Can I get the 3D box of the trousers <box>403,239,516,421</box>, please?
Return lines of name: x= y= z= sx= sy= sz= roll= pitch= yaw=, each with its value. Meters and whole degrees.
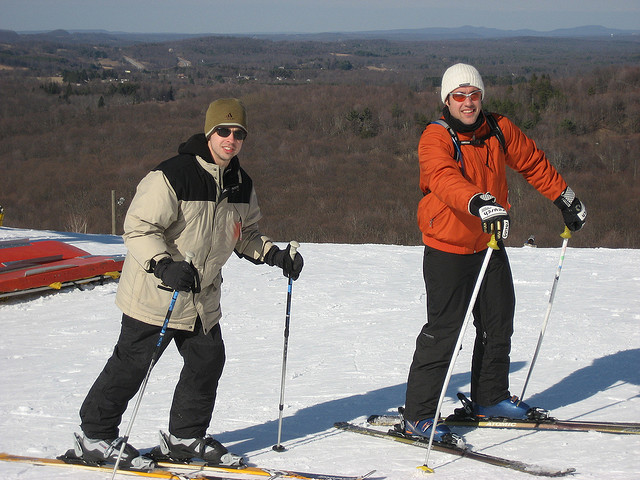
trousers: x=1.144 y=0.613 z=6.190 sx=0.824 sy=1.499 sz=1.067 roll=2 pitch=14 yaw=-3

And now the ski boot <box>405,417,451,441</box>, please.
ski boot: x=0.863 y=1.467 z=5.896 sx=0.370 sy=0.175 sz=0.150 roll=-3 pitch=-5 yaw=33

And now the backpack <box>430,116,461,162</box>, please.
backpack: x=1.031 y=-0.783 z=5.851 sx=0.166 sy=0.330 sz=0.329 roll=-6 pitch=12 yaw=-28

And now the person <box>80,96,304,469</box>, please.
person: x=-0.997 y=0.356 z=5.393 sx=1.538 sy=2.679 sz=0.621 roll=-5 pitch=11 yaw=-21

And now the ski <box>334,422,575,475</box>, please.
ski: x=1.095 y=1.602 z=5.735 sx=1.641 sy=0.096 sz=0.181 roll=7 pitch=9 yaw=25

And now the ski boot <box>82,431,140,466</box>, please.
ski boot: x=-1.535 y=1.502 z=5.460 sx=0.430 sy=0.193 sz=0.172 roll=9 pitch=10 yaw=-4

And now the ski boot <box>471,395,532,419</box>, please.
ski boot: x=1.543 y=1.385 z=6.206 sx=0.365 sy=0.159 sz=0.206 roll=-6 pitch=-7 yaw=13

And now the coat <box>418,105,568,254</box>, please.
coat: x=1.383 y=-0.468 z=5.777 sx=1.194 sy=1.308 sz=1.145 roll=8 pitch=23 yaw=23

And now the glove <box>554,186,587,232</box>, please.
glove: x=2.182 y=-0.233 z=6.275 sx=0.157 sy=0.364 sz=0.285 roll=-14 pitch=37 yaw=40

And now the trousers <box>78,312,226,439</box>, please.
trousers: x=-1.161 y=0.916 z=5.690 sx=0.988 sy=0.959 sz=1.264 roll=-8 pitch=20 yaw=-33
